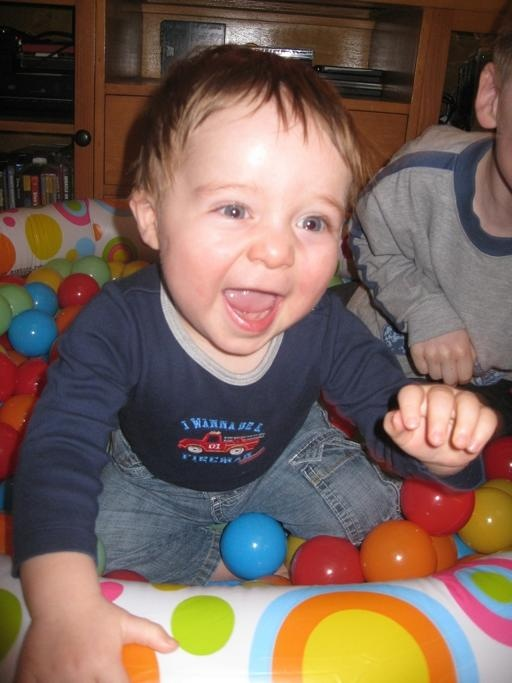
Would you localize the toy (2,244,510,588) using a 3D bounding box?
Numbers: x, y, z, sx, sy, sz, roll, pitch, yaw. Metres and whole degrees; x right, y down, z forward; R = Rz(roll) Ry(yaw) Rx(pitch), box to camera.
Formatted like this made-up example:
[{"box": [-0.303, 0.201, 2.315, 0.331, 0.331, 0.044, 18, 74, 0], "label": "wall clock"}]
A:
[{"box": [-0.074, 0.093, 0.874, 0.650, 0.452, 0.472, -8, 39, -18], "label": "toy"}]
